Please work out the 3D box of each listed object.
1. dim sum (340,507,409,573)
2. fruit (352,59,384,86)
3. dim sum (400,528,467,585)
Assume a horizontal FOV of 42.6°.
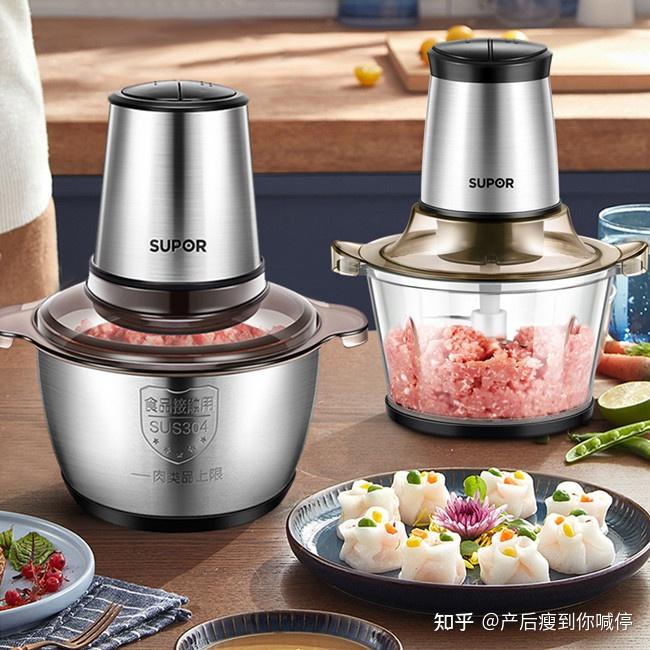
[{"bbox_3d":[0.041,0.162,0.640,0.065,0.026,0.049,1,10,2],"label":"dim sum"},{"bbox_3d":[0.118,-0.681,2.247,0.106,0.046,0.083,-2,13,-3],"label":"fruit"},{"bbox_3d":[0.080,0.173,0.616,0.045,0.041,0.056,2,16,17],"label":"dim sum"}]
